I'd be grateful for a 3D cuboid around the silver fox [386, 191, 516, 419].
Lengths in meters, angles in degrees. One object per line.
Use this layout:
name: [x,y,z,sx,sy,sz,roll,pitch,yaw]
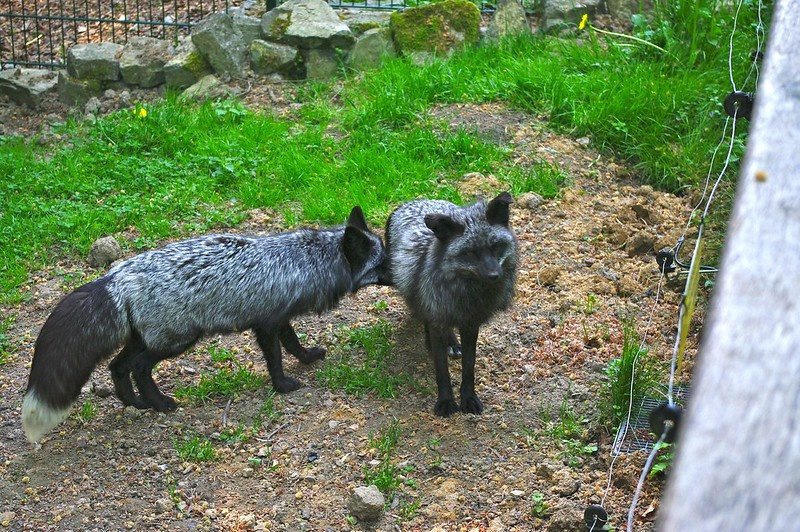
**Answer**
silver fox: [0.459,0.171,8.370,0.918,1.698,1.425,-13,26,-22]
